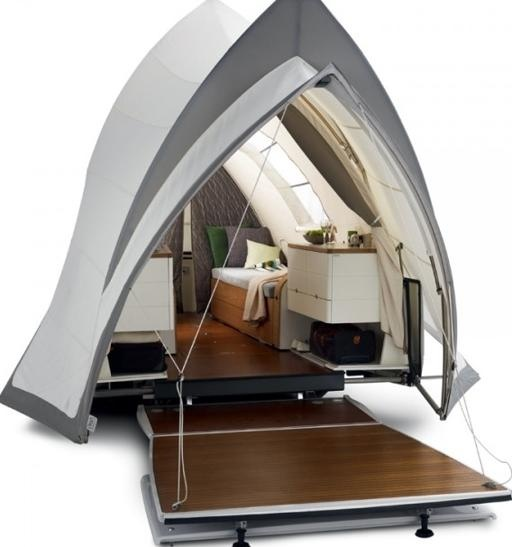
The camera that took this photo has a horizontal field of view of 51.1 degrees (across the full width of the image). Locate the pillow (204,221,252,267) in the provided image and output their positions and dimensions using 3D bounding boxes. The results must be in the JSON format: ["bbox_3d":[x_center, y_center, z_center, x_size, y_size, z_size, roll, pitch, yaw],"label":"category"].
[{"bbox_3d":[-0.370,-0.373,6.559,0.581,0.549,0.168,-3,-5,-22],"label":"pillow"}]

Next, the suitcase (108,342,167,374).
[{"bbox_3d":[-0.803,0.576,3.620,0.328,0.167,0.244,0,-1,-10],"label":"suitcase"}]

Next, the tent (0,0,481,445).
[{"bbox_3d":[-0.011,-0.026,3.472,2.650,2.394,1.626,1,7,-11],"label":"tent"}]

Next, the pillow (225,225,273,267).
[{"bbox_3d":[-0.139,-0.325,6.701,0.523,0.514,0.161,4,-3,-35],"label":"pillow"}]

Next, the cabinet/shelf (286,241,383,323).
[{"bbox_3d":[0.590,0.068,4.284,0.430,0.574,0.840,-1,5,-16],"label":"cabinet/shelf"}]

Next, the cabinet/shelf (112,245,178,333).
[{"bbox_3d":[-0.703,0.049,3.766,0.635,0.608,0.434,-1,2,-20],"label":"cabinet/shelf"}]
